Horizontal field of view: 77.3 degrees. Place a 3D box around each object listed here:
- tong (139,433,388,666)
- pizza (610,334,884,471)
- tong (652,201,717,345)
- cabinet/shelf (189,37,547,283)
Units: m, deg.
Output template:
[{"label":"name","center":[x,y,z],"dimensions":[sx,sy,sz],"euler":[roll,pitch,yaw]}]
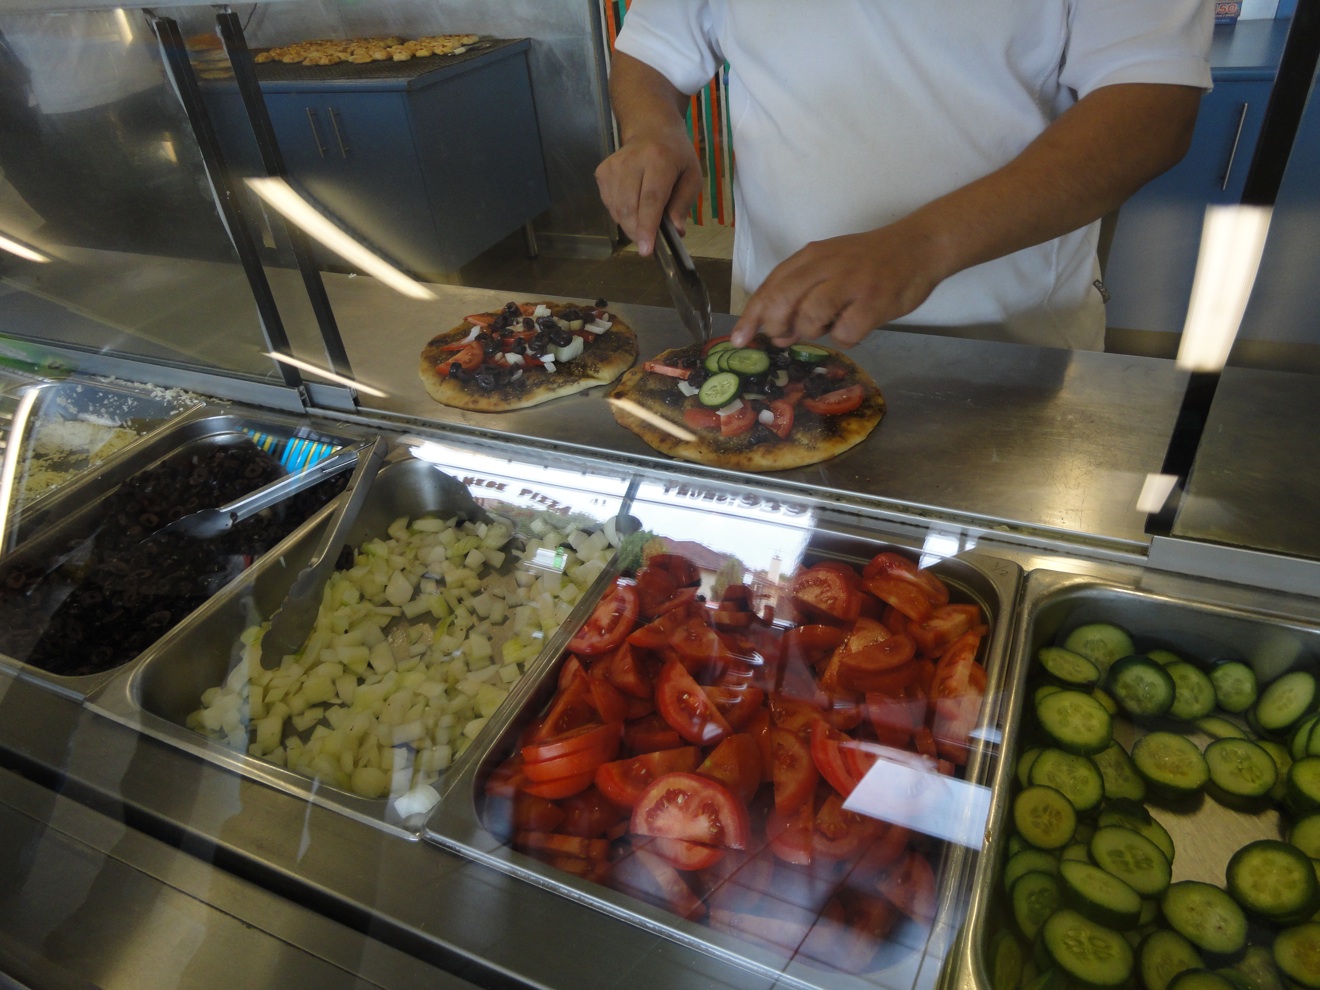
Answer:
[{"label":"tong","center":[-0.463,0.018,1.027],"dimensions":[0.190,0.043,0.347],"euler":[27,51,-5]},{"label":"pizza","center":[0.104,-0.111,1.017],"dimensions":[0.338,0.049,0.223],"euler":[-4,52,8]},{"label":"tong","center":[0.033,-0.288,1.105],"dimensions":[0.046,0.058,0.240],"euler":[-8,84,-4]},{"label":"cabinet/shelf","center":[-0.428,-0.509,1.255],"dimensions":[0.414,0.309,0.231],"euler":[15,42,25]}]
